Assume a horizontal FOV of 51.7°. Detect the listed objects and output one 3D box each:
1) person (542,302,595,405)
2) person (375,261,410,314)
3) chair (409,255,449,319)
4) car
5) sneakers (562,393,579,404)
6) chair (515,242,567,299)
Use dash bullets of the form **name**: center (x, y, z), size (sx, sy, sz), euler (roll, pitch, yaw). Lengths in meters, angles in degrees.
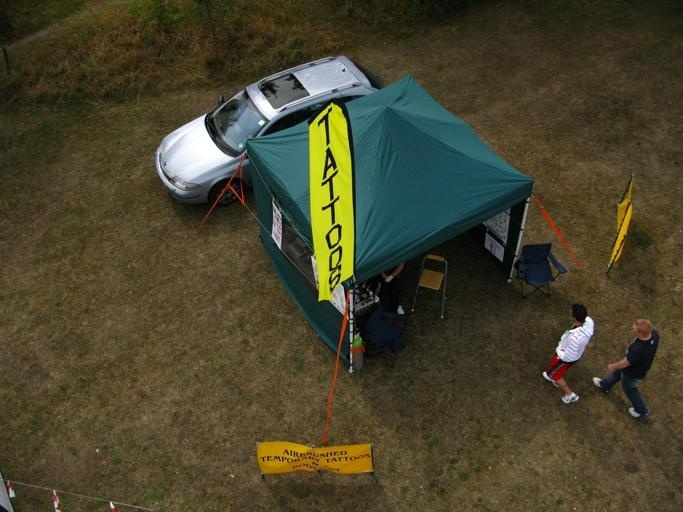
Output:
- **person**: center (4.052, 1.644, 12.375), size (0.720, 1.584, 1.060), euler (21, 55, 22)
- **person**: center (0.960, 0.471, 13.742), size (0.526, 0.432, 1.524), euler (-16, 52, 19)
- **chair**: center (1.752, 0.520, 13.649), size (0.562, 0.932, 0.750), euler (14, 31, 22)
- **car**: center (-1.913, -2.575, 16.051), size (5.350, 1.875, 2.593), euler (-30, 70, -10)
- **sneakers**: center (4.116, 2.535, 12.602), size (0.266, 0.133, 0.166), euler (-14, 45, 32)
- **chair**: center (3.779, 0.261, 13.499), size (0.819, 0.857, 0.677), euler (-1, 45, 2)
